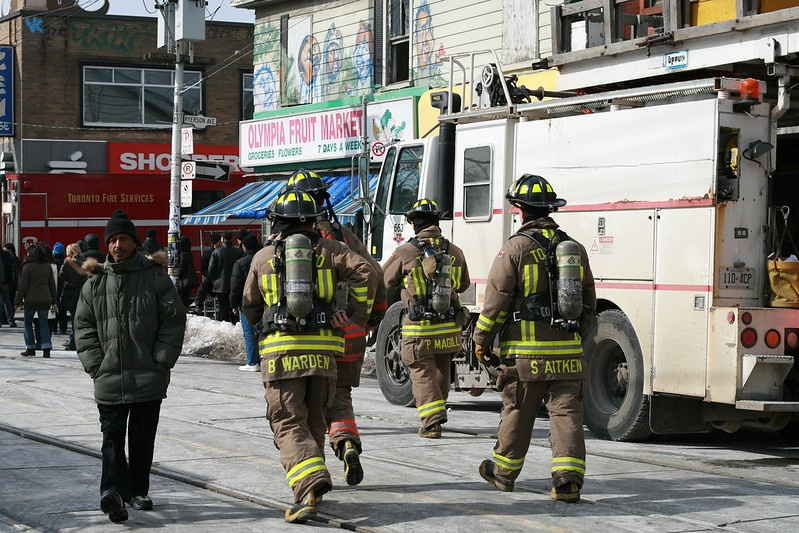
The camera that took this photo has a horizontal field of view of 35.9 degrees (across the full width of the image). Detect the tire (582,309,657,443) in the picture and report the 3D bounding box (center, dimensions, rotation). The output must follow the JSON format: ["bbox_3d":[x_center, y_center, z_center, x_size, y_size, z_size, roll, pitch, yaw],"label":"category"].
[{"bbox_3d":[2.687,1.316,15.041,0.613,1.561,1.833,-1,3,-22],"label":"tire"}]

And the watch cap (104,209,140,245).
[{"bbox_3d":[-2.747,-0.404,12.370,0.308,0.308,0.394,-5,-7,-9],"label":"watch cap"}]

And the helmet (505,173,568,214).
[{"bbox_3d":[1.426,-0.825,13.168,0.553,0.310,0.672,-6,15,-11],"label":"helmet"}]

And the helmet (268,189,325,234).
[{"bbox_3d":[-1.061,-0.572,12.574,0.451,0.384,0.488,-6,10,-24],"label":"helmet"}]

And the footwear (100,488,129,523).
[{"bbox_3d":[-2.773,2.362,12.056,0.243,0.342,0.256,0,1,-5],"label":"footwear"}]

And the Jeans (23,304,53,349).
[{"bbox_3d":[-6.588,1.130,22.590,0.439,0.791,0.580,0,1,-16],"label":"Jeans"}]

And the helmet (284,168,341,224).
[{"bbox_3d":[-1.023,-0.821,13.486,0.686,0.385,0.503,7,21,44],"label":"helmet"}]

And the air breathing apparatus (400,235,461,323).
[{"bbox_3d":[0.429,0.195,15.518,0.762,0.959,0.331,1,3,7],"label":"air breathing apparatus"}]

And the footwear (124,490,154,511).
[{"bbox_3d":[-2.565,2.378,12.357,0.312,0.116,0.128,3,-5,16],"label":"footwear"}]

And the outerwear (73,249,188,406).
[{"bbox_3d":[-2.654,0.598,12.225,1.053,1.500,0.403,0,1,-11],"label":"outerwear"}]

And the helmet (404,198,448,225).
[{"bbox_3d":[0.260,-0.724,15.881,0.332,0.185,0.442,2,-1,-20],"label":"helmet"}]

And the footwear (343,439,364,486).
[{"bbox_3d":[-0.511,2.025,12.798,0.199,0.488,0.240,-17,17,-13],"label":"footwear"}]

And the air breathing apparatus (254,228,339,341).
[{"bbox_3d":[-0.979,0.184,12.358,0.841,1.022,0.336,0,1,-6],"label":"air breathing apparatus"}]

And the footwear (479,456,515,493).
[{"bbox_3d":[0.964,2.187,12.995,0.202,0.202,0.481,-6,26,-26],"label":"footwear"}]

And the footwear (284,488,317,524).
[{"bbox_3d":[-0.968,2.370,12.065,0.286,0.342,0.156,0,1,-5],"label":"footwear"}]

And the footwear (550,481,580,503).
[{"bbox_3d":[1.677,2.311,12.586,0.284,0.218,0.161,0,1,6],"label":"footwear"}]
